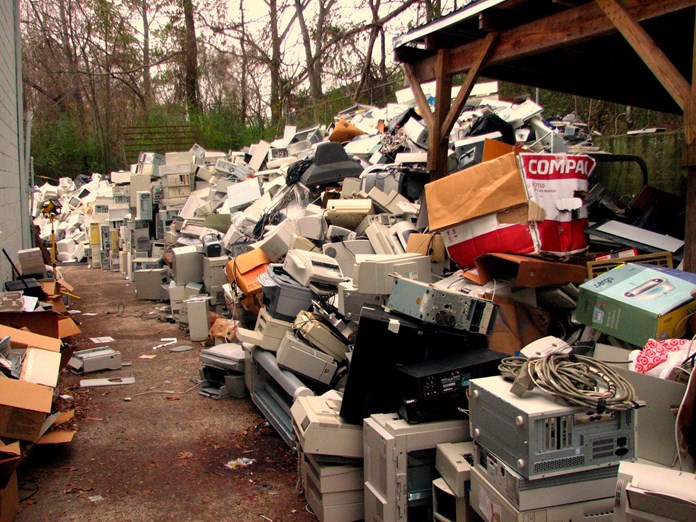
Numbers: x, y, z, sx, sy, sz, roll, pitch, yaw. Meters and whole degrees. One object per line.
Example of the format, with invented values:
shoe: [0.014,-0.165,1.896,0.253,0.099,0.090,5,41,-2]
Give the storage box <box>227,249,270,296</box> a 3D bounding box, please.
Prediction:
storage box: [-1.256,0.107,6.297,0.464,0.210,0.635,-30,35,-3]

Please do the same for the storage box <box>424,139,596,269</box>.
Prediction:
storage box: [1.568,-0.462,5.040,1.293,0.897,1.535,-4,-5,-14]
